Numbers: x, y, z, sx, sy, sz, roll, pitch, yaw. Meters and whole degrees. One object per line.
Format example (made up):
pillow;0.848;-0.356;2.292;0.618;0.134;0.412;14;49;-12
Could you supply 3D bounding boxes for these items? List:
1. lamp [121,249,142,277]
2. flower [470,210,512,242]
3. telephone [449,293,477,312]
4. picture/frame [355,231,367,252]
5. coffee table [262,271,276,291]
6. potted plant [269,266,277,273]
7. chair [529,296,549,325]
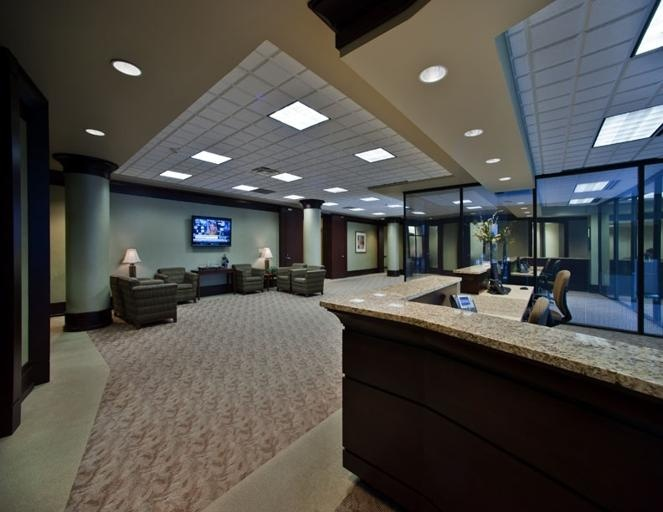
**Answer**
lamp;-4.071;0.152;8.389;0.368;0.604;0.651;-2;5;-26
flower;2.537;-0.422;6.460;0.609;0.621;0.662;-1;2;1
telephone;1.256;0.451;3.974;0.164;0.171;0.094;2;-23;-37
picture/frame;1.057;-0.535;15.342;0.049;0.767;0.722;-3;-3;29
coffee table;-1.628;0.636;10.925;0.375;0.532;0.541;-1;-1;27
potted plant;-1.543;0.372;11.038;0.176;0.132;0.181;0;4;-18
chair;1.805;0.480;3.588;0.113;0.133;0.396;7;12;33
